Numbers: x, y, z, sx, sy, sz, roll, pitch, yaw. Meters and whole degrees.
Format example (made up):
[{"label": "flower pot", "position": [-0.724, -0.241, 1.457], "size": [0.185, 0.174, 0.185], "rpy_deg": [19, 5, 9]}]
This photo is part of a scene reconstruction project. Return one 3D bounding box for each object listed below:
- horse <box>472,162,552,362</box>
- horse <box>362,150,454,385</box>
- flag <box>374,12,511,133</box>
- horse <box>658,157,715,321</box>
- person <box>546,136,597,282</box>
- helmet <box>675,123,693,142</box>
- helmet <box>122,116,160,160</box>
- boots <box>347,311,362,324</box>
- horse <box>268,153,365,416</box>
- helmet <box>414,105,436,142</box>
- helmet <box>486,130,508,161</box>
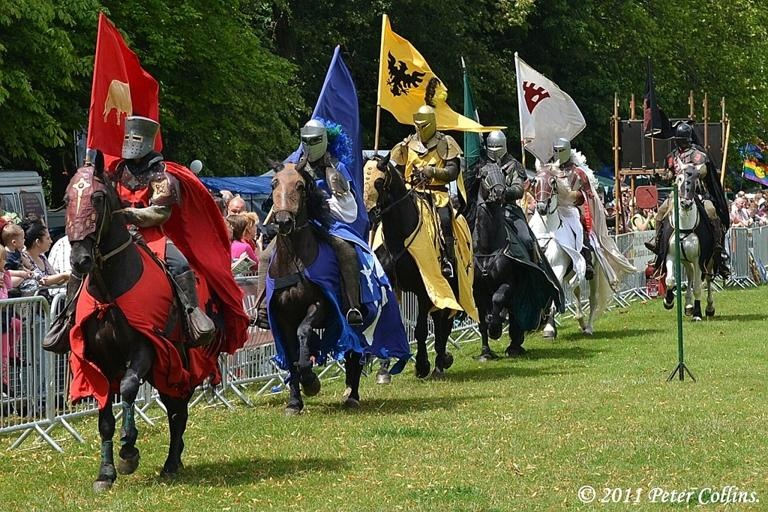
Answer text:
[{"label": "horse", "position": [2.129, 0.069, 25.129], "size": [1.322, 3.439, 2.046], "rpy_deg": [-5, 0, 21]}, {"label": "horse", "position": [0.385, 0.215, 23.163], "size": [1.103, 3.604, 2.059], "rpy_deg": [-5, 0, 16]}, {"label": "flag", "position": [0.513, -2.971, 24.366], "size": [1.582, 1.908, 0.551], "rpy_deg": [-5, 0, -42]}, {"label": "horse", "position": [6.082, -0.281, 29.036], "size": [1.105, 3.111, 2.801], "rpy_deg": [-5, 0, 12]}, {"label": "person", "position": [3.522, -0.850, 28.380], "size": [1.289, 2.917, 1.079], "rpy_deg": [-1, 3, -7]}, {"label": "helmet", "position": [5.973, -2.473, 28.789], "size": [0.384, 0.389, 0.336], "rpy_deg": [-5, 1, -6]}, {"label": "helmet", "position": [-3.181, -1.584, 19.039], "size": [0.471, 0.519, 0.517], "rpy_deg": [2, 10, 3]}, {"label": "boots", "position": [-0.443, 0.884, 21.048], "size": [0.200, 0.178, 0.103], "rpy_deg": [0, -9, -7]}, {"label": "horse", "position": [-1.191, 0.477, 20.903], "size": [1.121, 3.655, 1.526], "rpy_deg": [-5, 0, 7]}, {"label": "helmet", "position": [0.669, -2.150, 23.627], "size": [0.342, 0.601, 0.372], "rpy_deg": [-5, 0, -1]}, {"label": "helmet", "position": [1.968, -1.921, 25.267], "size": [0.355, 0.523, 0.275], "rpy_deg": [-5, 0, -14]}]
